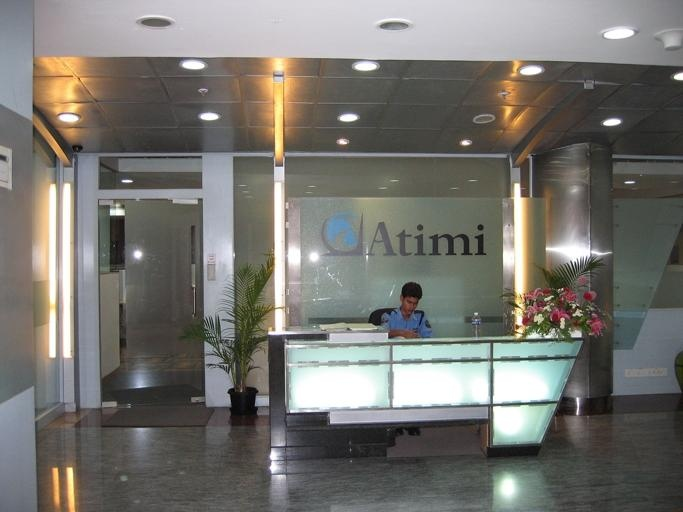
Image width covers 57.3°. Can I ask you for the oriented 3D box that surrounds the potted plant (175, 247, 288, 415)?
[{"bbox_3d":[-1.375,0.982,7.906,1.178,1.944,0.660,-1,5,-5],"label":"potted plant"}]

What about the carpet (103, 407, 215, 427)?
[{"bbox_3d":[-2.249,1.979,7.678,1.294,0.060,0.962,-1,5,-2],"label":"carpet"}]

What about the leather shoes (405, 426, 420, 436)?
[{"bbox_3d":[0.797,1.913,6.856,0.163,0.088,0.184,0,5,4],"label":"leather shoes"}]

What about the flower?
[{"bbox_3d":[2.142,0.583,6.681,1.188,0.605,1.157,-9,10,-39],"label":"flower"}]

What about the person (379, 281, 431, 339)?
[{"bbox_3d":[0.703,0.688,6.813,0.589,0.727,0.417,7,-3,-5],"label":"person"}]

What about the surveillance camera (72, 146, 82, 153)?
[{"bbox_3d":[-3.319,-1.343,7.844,0.089,0.024,0.085,-7,-11,-6],"label":"surveillance camera"}]
